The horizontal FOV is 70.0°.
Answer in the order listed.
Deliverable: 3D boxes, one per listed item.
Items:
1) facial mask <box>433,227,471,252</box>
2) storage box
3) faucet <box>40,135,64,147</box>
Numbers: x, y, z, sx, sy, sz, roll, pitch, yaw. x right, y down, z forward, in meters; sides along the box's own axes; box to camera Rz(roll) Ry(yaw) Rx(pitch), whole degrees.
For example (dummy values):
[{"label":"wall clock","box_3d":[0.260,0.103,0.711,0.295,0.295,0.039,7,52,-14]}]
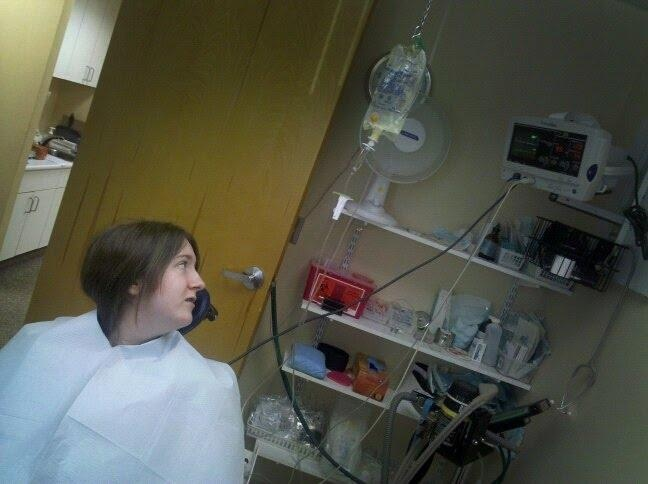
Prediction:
[{"label":"facial mask","box_3d":[0.635,-0.015,2.267,0.142,0.100,0.046,-1,-46,43]},{"label":"storage box","box_3d":[0.081,0.189,2.301,0.316,0.234,0.196,21,38,-1]},{"label":"faucet","box_3d":[-2.341,-0.867,3.993,0.162,0.102,0.098,7,10,-42]}]
